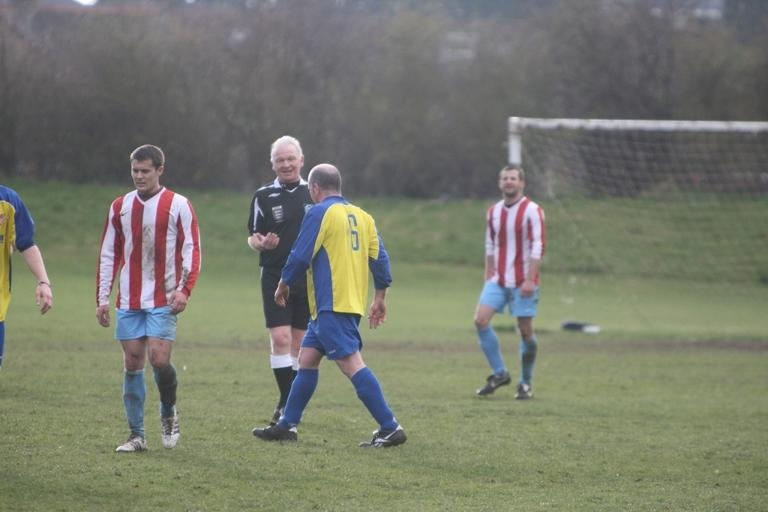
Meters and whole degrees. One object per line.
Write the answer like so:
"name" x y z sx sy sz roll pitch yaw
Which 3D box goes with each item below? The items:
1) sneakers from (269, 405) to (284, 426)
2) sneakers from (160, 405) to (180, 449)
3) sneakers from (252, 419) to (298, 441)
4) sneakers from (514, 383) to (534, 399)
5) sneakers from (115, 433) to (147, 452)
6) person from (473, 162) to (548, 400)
"sneakers" -1.473 2.200 22.505 0.140 0.211 0.171 16 -9 -24
"sneakers" -2.854 2.310 22.048 0.222 0.562 0.255 -6 1 -1
"sneakers" -1.459 2.385 22.133 0.651 0.240 0.225 4 -3 8
"sneakers" 2.062 1.957 23.648 0.250 0.207 0.212 1 7 5
"sneakers" -3.385 2.512 21.885 0.409 0.233 0.193 0 7 -7
"person" 1.868 0.345 23.842 1.005 3.358 1.066 -2 8 -20
